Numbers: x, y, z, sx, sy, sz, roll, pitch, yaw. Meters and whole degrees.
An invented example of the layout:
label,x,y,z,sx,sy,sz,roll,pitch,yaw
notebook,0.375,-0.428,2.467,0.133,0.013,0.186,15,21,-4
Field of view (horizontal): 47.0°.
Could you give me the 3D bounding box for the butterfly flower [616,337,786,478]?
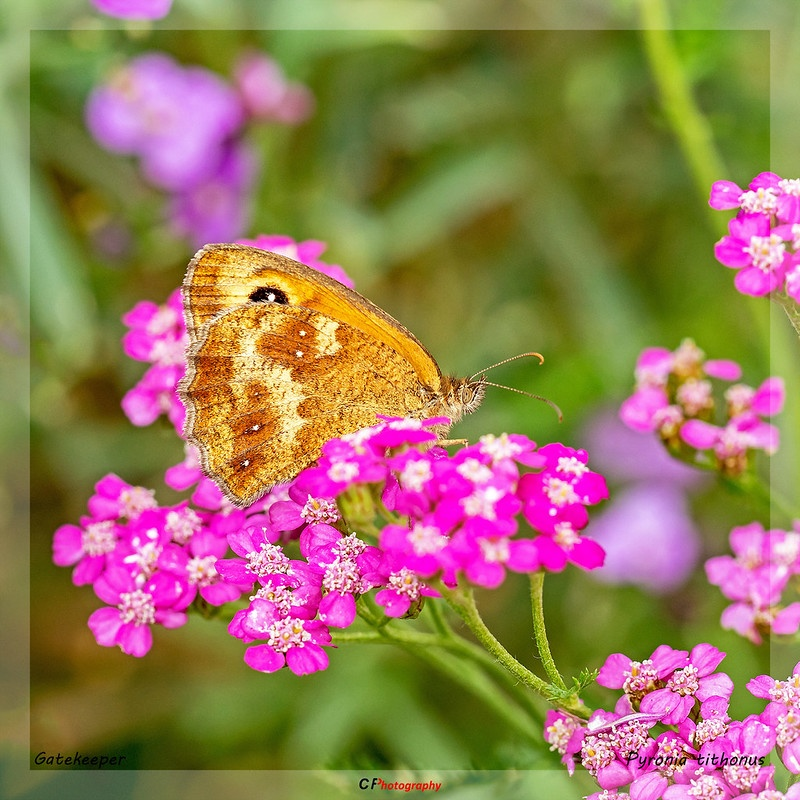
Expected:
label,x,y,z,sx,sy,sz,roll,pitch,yaw
butterfly flower,0.673,0.062,2.127,0.313,0.125,0.321,27,62,20
